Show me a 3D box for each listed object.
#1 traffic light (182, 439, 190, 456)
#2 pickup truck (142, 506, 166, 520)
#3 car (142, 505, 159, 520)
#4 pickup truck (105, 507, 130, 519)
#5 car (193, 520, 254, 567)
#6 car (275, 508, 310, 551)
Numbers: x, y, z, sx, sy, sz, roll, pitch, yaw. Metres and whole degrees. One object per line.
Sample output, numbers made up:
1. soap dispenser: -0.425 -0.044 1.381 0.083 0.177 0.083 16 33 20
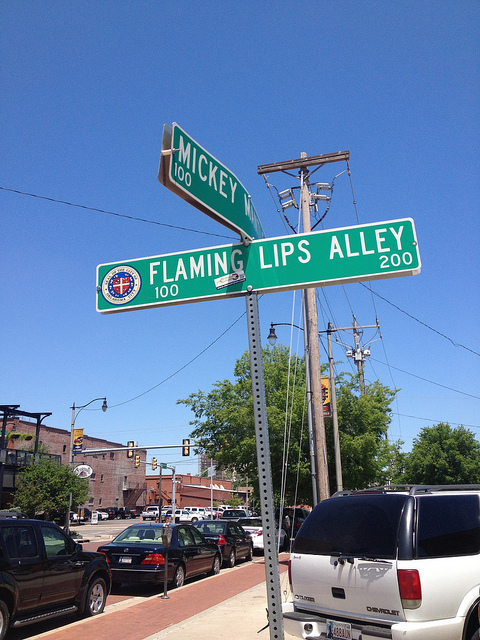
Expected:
1. traffic light: -3.308 7.644 37.215 0.300 0.912 0.511 8 -14 -19
2. pickup truck: -9.370 19.879 63.960 1.647 1.116 3.581 7 -15 -8
3. car: -9.265 20.007 64.213 1.142 1.087 2.427 -3 -18 10
4. pickup truck: -13.609 20.944 66.792 2.032 1.035 1.369 0 -16 9
5. car: -0.385 7.046 19.573 1.017 0.879 2.440 -6 -20 17
6. car: 2.588 8.804 27.075 1.190 1.482 2.867 -4 -9 21
